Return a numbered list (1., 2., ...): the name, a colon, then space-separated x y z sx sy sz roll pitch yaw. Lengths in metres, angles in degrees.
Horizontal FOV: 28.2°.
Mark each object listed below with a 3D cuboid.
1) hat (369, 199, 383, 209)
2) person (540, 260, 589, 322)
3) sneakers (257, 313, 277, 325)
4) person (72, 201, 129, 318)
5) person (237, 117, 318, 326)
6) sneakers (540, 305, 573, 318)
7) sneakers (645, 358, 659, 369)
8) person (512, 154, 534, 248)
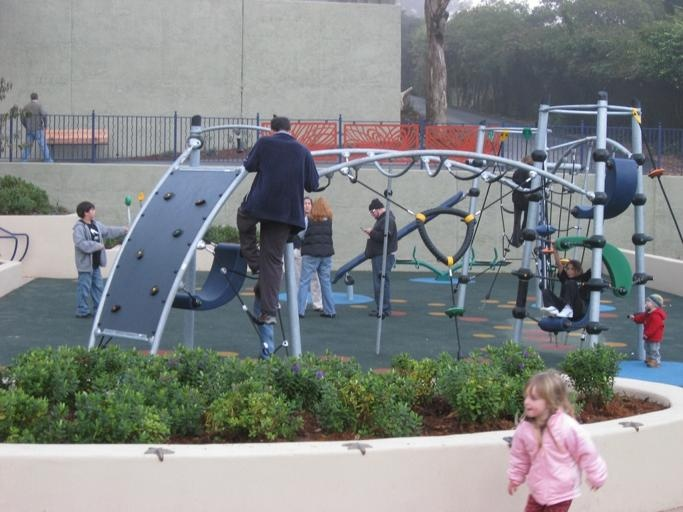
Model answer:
1. hat: 0.750 -1.085 28.720 0.223 0.235 0.181 -10 0 17
2. person: 4.392 0.672 26.252 0.931 1.060 1.223 -2 6 -29
3. sneakers: -1.316 1.145 24.504 0.312 0.175 0.147 5 3 0
4. person: -5.099 0.103 28.094 0.809 2.338 0.522 -1 5 -14
5. person: -1.185 -0.613 24.483 1.345 3.677 0.423 0 5 -6
6. sneakers: 4.143 1.041 26.095 0.579 0.285 0.219 13 -5 17
7. sneakers: 5.828 2.010 25.524 0.245 0.123 0.114 13 -8 -36
8. person: 3.880 -1.087 29.302 0.481 2.534 0.649 0 7 -4
